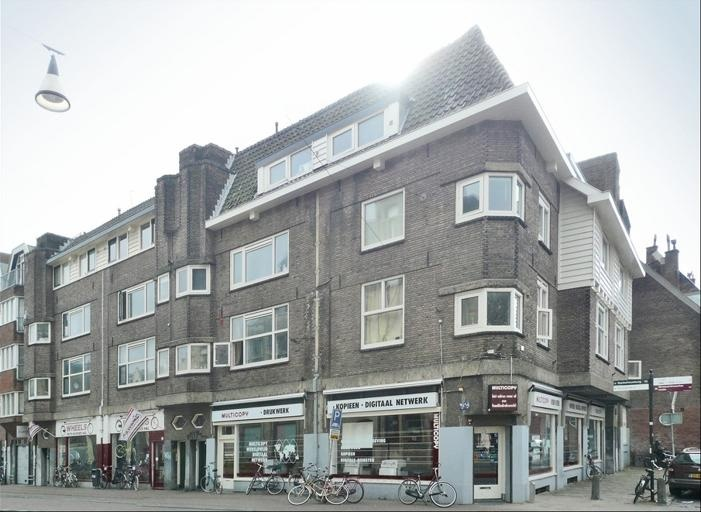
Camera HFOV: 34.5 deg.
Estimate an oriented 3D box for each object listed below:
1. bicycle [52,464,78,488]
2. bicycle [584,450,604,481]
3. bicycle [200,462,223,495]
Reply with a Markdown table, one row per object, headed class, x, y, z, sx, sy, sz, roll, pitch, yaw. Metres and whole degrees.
| class | x | y | z | sx | sy | sz | roll | pitch | yaw |
| --- | --- | --- | --- | --- | --- | --- | --- | --- | --- |
| bicycle | -15.751 | 12.050 | 61.921 | 1.650 | 1.036 | 0.817 | -23 | -29 | 39 |
| bicycle | 11.713 | 9.875 | 53.573 | 0.686 | 1.372 | 3.523 | -6 | -22 | 12 |
| bicycle | -6.506 | 10.690 | 53.999 | 0.736 | 1.055 | 1.629 | 13 | -28 | -39 |
